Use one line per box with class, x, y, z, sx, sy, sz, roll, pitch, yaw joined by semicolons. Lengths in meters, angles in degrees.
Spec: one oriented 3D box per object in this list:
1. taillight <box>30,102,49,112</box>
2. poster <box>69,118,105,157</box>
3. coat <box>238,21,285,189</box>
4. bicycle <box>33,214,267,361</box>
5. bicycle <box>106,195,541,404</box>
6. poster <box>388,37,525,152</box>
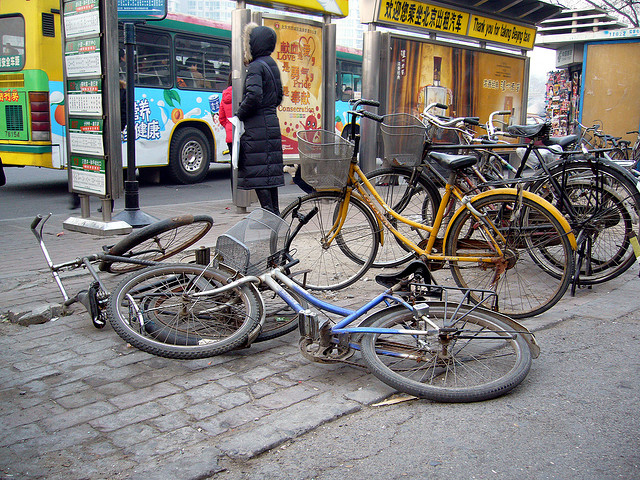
taillight;-5.554;-2.741;10.255;0.323;0.194;0.093;-6;17;-24
poster;-3.259;-1.527;7.279;0.976;0.584;0.099;12;16;36
coat;-0.747;-1.753;6.612;0.601;2.125;0.681;0;16;-4
bicycle;-1.272;0.284;4.148;1.478;0.334;2.020;7;23;-20
bicycle;-0.072;0.498;3.573;3.039;0.993;1.268;6;27;14
poster;3.430;-3.563;12.496;5.405;2.548;0.182;-12;14;-37
